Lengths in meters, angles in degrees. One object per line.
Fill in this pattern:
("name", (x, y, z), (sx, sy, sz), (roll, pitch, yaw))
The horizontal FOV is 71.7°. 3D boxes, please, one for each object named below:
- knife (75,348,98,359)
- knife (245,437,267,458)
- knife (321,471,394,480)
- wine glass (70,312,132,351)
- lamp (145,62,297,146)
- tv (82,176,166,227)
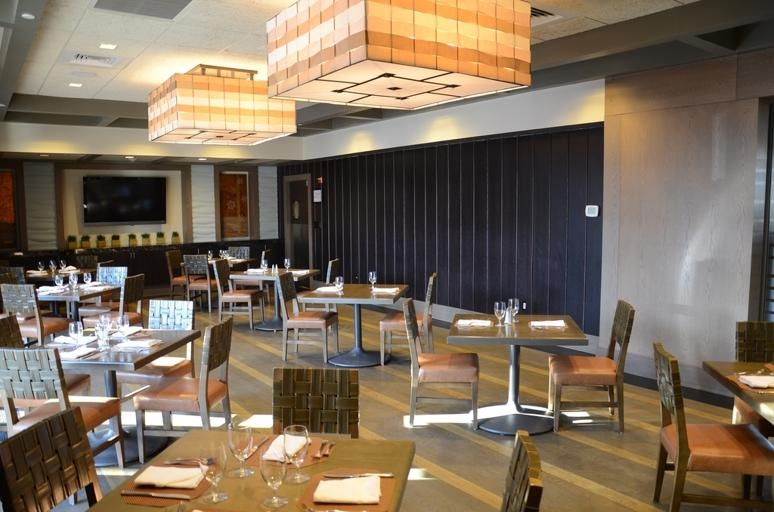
("knife", (-2.656, 0.843, 4.649), (0.131, 0.024, 0.156), (-3, 11, -10))
("knife", (-0.817, 1.163, 3.281), (0.050, 0.036, 0.181), (33, 48, 6))
("knife", (-0.171, 1.257, 3.055), (0.411, 0.026, 0.051), (-1, 11, 1))
("wine glass", (-2.918, 0.760, 5.366), (0.267, 0.180, 0.396), (1, 8, -6))
("lamp", (-2.140, -1.937, 6.635), (1.331, 0.976, 1.491), (-10, 14, -38))
("tv", (-6.143, -1.265, 12.088), (1.344, 0.769, 0.127), (-2, 9, -27))
